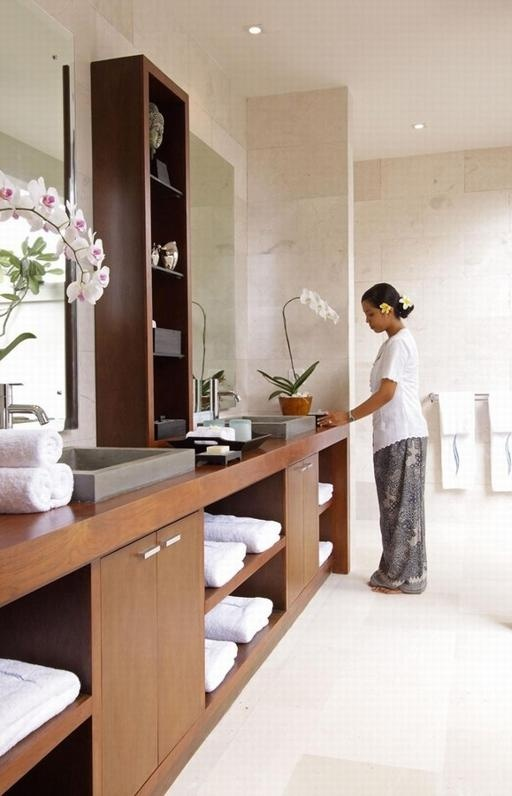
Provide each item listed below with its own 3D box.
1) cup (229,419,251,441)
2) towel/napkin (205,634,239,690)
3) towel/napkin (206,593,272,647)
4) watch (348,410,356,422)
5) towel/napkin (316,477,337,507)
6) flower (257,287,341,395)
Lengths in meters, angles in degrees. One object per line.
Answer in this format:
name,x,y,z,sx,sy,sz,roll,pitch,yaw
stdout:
cup,-0.038,0.098,1.964,0.057,0.073,0.060,0,7,0
towel/napkin,-0.099,0.694,1.705,0.106,0.040,0.114,1,4,24
towel/napkin,-0.075,0.668,1.991,0.141,0.055,0.156,1,5,20
watch,0.447,0.088,3.042,0.032,0.048,0.120,0,0,6
towel/napkin,0.328,0.455,3.123,0.098,0.040,0.104,11,17,27
flower,0.266,-0.280,3.487,0.491,0.811,0.409,-1,5,1
